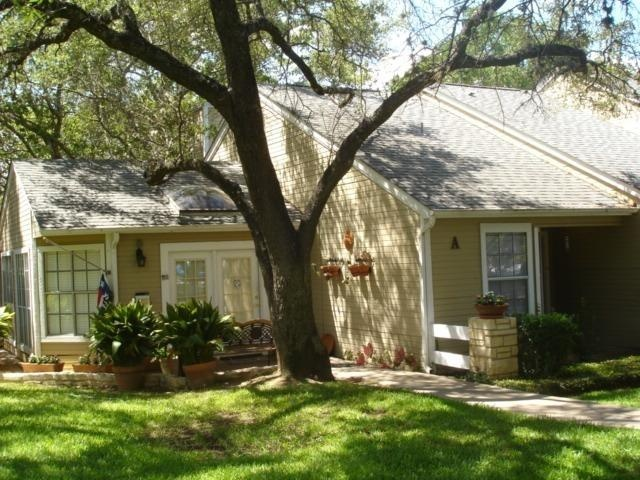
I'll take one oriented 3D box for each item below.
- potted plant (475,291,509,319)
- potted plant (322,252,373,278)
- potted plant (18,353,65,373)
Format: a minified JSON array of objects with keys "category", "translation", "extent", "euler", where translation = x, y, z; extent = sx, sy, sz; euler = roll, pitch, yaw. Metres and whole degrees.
[{"category":"potted plant","translation":[3.458,1.313,13.919],"extent":[0.555,0.386,0.563],"euler":[-2,-3,8]},{"category":"potted plant","translation":[0.638,0.646,16.599],"extent":[0.329,0.718,1.757],"euler":[-4,4,-31]},{"category":"potted plant","translation":[-6.345,2.818,15.825],"extent":[0.862,0.324,0.890],"euler":[-2,3,-11]}]
